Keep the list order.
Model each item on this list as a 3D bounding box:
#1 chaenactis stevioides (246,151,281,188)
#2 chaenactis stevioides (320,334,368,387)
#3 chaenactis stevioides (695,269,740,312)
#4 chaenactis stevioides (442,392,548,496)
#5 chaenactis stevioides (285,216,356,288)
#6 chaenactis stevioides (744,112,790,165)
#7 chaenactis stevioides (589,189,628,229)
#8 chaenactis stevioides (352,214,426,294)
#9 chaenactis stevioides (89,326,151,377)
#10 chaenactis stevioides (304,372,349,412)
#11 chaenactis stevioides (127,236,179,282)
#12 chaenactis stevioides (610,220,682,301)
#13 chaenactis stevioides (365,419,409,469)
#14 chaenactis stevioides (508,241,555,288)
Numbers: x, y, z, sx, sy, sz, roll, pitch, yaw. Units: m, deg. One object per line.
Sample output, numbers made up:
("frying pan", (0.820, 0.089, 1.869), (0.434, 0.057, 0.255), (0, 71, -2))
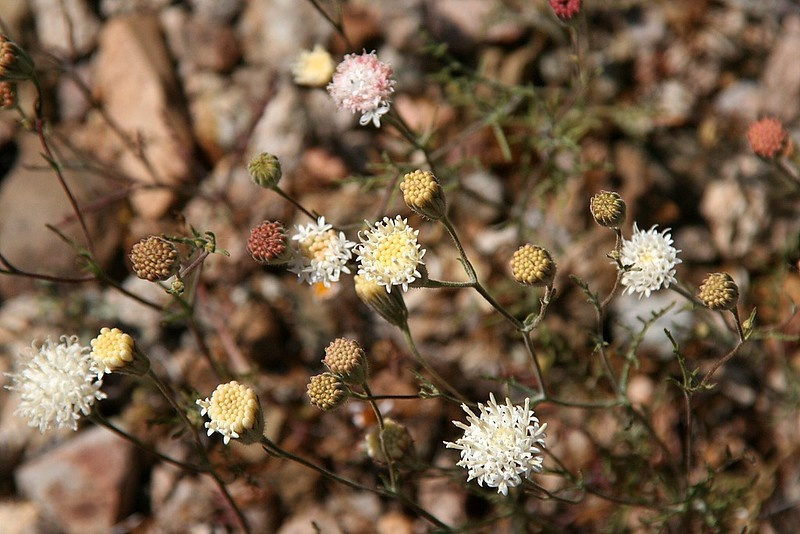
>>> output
("chaenactis stevioides", (-0.790, -0.547, 4.962), (0.151, 0.199, 0.216), (-3, 77, -13))
("chaenactis stevioides", (-0.297, 0.511, 4.780), (0.272, 0.236, 0.241), (38, 84, -17))
("chaenactis stevioides", (1.716, 0.149, 4.686), (0.202, 0.186, 0.215), (10, 76, -33))
("chaenactis stevioides", (0.517, 0.958, 4.661), (0.526, 0.337, 0.515), (7, 82, 0))
("chaenactis stevioides", (-0.445, -0.044, 5.001), (0.359, 0.150, 0.397), (-28, 81, 2))
("chaenactis stevioides", (2.117, -0.768, 4.980), (0.190, 0.161, 0.269), (2, 72, -3))
("chaenactis stevioides", (1.212, -0.328, 5.032), (0.169, 0.207, 0.209), (-35, 114, 11))
("chaenactis stevioides", (-0.053, -0.059, 4.754), (0.372, 0.217, 0.389), (26, 87, 11))
("chaenactis stevioides", (-1.616, 0.497, 4.934), (0.272, 0.201, 0.179), (34, 111, -26))
("chaenactis stevioides", (-0.387, 0.681, 4.685), (0.209, 0.076, 0.195), (-11, 83, -3))
("chaenactis stevioides", (-1.350, -0.035, 4.843), (0.245, 0.178, 0.242), (40, 90, 6))
("chaenactis stevioides", (1.377, -0.026, 4.797), (0.342, 0.298, 0.398), (0, 82, -1))
("chaenactis stevioides", (-0.062, 1.021, 4.938), (0.223, 0.100, 0.274), (-3, 82, -3))
("chaenactis stevioides", (0.723, -0.006, 4.745), (0.212, 0.195, 0.216), (30, 108, -11))
